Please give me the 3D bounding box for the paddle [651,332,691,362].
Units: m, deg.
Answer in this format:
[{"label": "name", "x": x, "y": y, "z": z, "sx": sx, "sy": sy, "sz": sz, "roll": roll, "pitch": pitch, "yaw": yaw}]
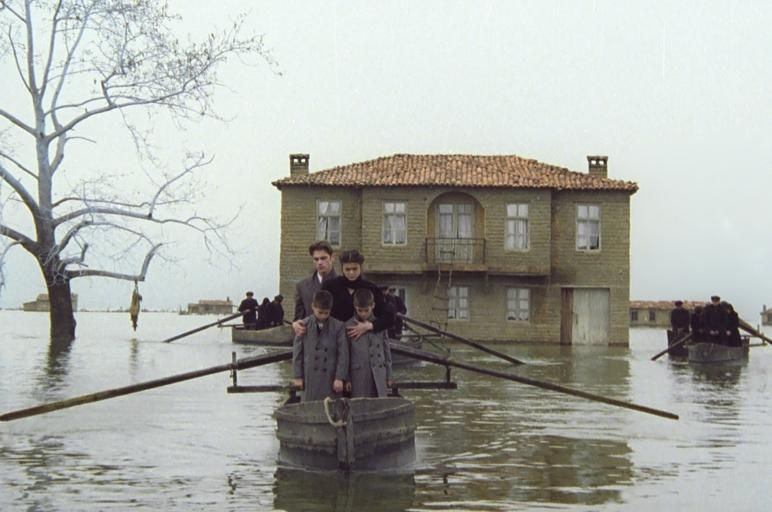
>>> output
[{"label": "paddle", "x": 10.311, "y": 3.306, "z": 42.905, "sx": 1.609, "sy": 0.267, "sz": 0.229, "roll": -26, "pitch": -22, "yaw": -3}]
